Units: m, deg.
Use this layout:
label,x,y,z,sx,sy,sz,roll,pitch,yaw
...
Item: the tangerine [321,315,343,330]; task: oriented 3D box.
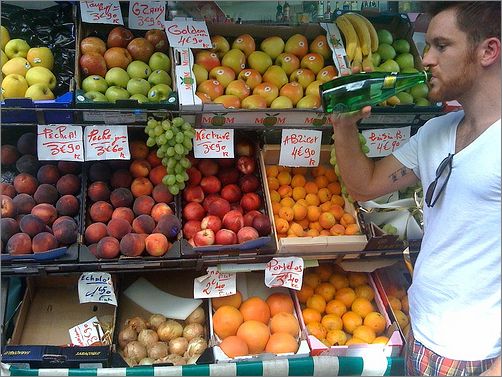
label,x,y,z,sx,sy,sz,roll,pitch,yaw
tangerine,0.544,0.909,2.672,0.101,0.096,0.102,16,10,12

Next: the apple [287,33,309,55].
label,x,y,z,sx,sy,sz,roll,pitch,yaw
apple,0.339,-1.046,2.938,0.167,0.196,0.168,-1,13,-13

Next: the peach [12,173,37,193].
label,x,y,z,sx,sy,sz,roll,pitch,yaw
peach,-1.395,-0.030,2.463,0.120,0.128,0.118,-4,25,-20

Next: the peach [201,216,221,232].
label,x,y,z,sx,sy,sz,roll,pitch,yaw
peach,-0.254,0.231,2.472,0.102,0.102,0.097,2,-8,-13

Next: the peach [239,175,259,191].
label,x,y,z,sx,sy,sz,roll,pitch,yaw
peach,-0.023,-0.029,2.815,0.110,0.109,0.105,-8,-3,-34

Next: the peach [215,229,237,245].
label,x,y,z,sx,sy,sz,roll,pitch,yaw
peach,-0.158,0.304,2.466,0.095,0.095,0.095,12,15,35

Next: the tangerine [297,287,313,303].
label,x,y,z,sx,sy,sz,roll,pitch,yaw
tangerine,0.385,0.754,2.902,0.105,0.128,0.106,9,2,20

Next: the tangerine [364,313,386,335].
label,x,y,z,sx,sy,sz,roll,pitch,yaw
tangerine,0.827,0.913,2.732,0.139,0.132,0.139,21,46,-9

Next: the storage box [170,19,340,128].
label,x,y,z,sx,sy,sz,roll,pitch,yaw
storage box,0.067,-0.751,2.691,0.733,0.297,1.012,0,53,-7

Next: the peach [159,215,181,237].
label,x,y,z,sx,sy,sz,roll,pitch,yaw
peach,-0.511,0.240,2.447,0.141,0.118,0.098,-14,42,-22

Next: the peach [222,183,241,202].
label,x,y,z,sx,sy,sz,roll,pitch,yaw
peach,-0.140,0.039,2.692,0.115,0.110,0.112,1,36,0

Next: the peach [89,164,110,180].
label,x,y,z,sx,sy,sz,roll,pitch,yaw
peach,-0.992,-0.103,2.641,0.113,0.113,0.135,33,-12,-19

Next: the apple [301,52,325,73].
label,x,y,z,sx,sy,sz,roll,pitch,yaw
apple,0.438,-0.886,2.815,0.102,0.123,0.108,29,60,-4

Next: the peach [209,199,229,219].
label,x,y,z,sx,sy,sz,roll,pitch,yaw
peach,-0.212,0.127,2.545,0.121,0.118,0.113,1,6,-6

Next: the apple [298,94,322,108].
label,x,y,z,sx,sy,sz,roll,pitch,yaw
apple,0.383,-0.562,2.603,0.135,0.076,0.101,1,26,18

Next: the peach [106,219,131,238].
label,x,y,z,sx,sy,sz,roll,pitch,yaw
peach,-0.796,0.240,2.373,0.117,0.064,0.113,-26,68,-31

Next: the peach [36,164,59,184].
label,x,y,z,sx,sy,sz,roll,pitch,yaw
peach,-1.288,-0.085,2.506,0.120,0.120,0.116,3,51,-5

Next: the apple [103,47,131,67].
label,x,y,z,sx,sy,sz,roll,pitch,yaw
apple,-0.875,-0.848,2.648,0.143,0.148,0.148,4,50,5

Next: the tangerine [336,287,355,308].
label,x,y,z,sx,sy,sz,roll,pitch,yaw
tangerine,0.680,0.775,2.838,0.118,0.120,0.124,11,20,37

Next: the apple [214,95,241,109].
label,x,y,z,sx,sy,sz,roll,pitch,yaw
apple,-0.147,-0.547,2.511,0.119,0.069,0.127,20,37,-8

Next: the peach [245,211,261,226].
label,x,y,z,sx,sy,sz,roll,pitch,yaw
peach,-0.008,0.194,2.629,0.103,0.090,0.087,-13,29,-38

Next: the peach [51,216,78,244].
label,x,y,z,sx,sy,sz,roll,pitch,yaw
peach,-1.130,0.244,2.383,0.160,0.171,0.183,-6,15,-26

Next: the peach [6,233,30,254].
label,x,y,z,sx,sy,sz,roll,pitch,yaw
peach,-1.305,0.318,2.230,0.111,0.120,0.139,14,-7,-6

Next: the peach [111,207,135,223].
label,x,y,z,sx,sy,sz,roll,pitch,yaw
peach,-0.797,0.155,2.454,0.103,0.102,0.096,-18,26,-22

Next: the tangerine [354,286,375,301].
label,x,y,z,sx,sy,sz,roll,pitch,yaw
tangerine,0.820,0.756,2.864,0.111,0.108,0.102,1,-1,3

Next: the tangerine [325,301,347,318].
label,x,y,z,sx,sy,sz,roll,pitch,yaw
tangerine,0.588,0.837,2.759,0.104,0.106,0.105,16,52,12

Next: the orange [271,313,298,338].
label,x,y,z,sx,sy,sz,roll,pitch,yaw
orange,0.221,0.902,2.632,0.154,0.153,0.152,-1,3,-3

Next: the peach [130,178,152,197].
label,x,y,z,sx,sy,sz,roll,pitch,yaw
peach,-0.716,-0.004,2.575,0.117,0.120,0.114,7,14,-3

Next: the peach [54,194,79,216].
label,x,y,z,sx,sy,sz,roll,pitch,yaw
peach,-1.126,0.104,2.424,0.118,0.124,0.123,-2,37,-28

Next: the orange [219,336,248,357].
label,x,y,z,sx,sy,sz,roll,pitch,yaw
orange,-0.106,0.996,2.477,0.142,0.120,0.119,1,75,-18

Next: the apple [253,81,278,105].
label,x,y,z,sx,sy,sz,roll,pitch,yaw
apple,0.103,-0.639,2.709,0.144,0.146,0.143,-22,39,-29

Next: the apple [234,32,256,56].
label,x,y,z,sx,sy,sz,roll,pitch,yaw
apple,-0.046,-1.022,2.844,0.149,0.149,0.143,15,20,24

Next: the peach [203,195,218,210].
label,x,y,z,sx,sy,sz,roll,pitch,yaw
peach,-0.266,0.089,2.649,0.089,0.104,0.091,7,69,-1

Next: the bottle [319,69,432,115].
label,x,y,z,sx,sy,sz,roll,pitch,yaw
bottle,0.638,-0.489,2.046,0.567,0.184,0.190,-15,54,-5

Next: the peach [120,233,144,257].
label,x,y,z,sx,sy,sz,roll,pitch,yaw
peach,-0.721,0.343,2.398,0.150,0.158,0.164,1,3,1

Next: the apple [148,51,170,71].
label,x,y,z,sx,sy,sz,roll,pitch,yaw
apple,-0.610,-0.830,2.616,0.124,0.130,0.128,-1,58,-14

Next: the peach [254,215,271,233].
label,x,y,z,sx,sy,sz,roll,pitch,yaw
peach,0.066,0.237,2.576,0.100,0.104,0.120,-10,70,-3

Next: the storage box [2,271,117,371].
label,x,y,z,sx,sy,sz,roll,pitch,yaw
storage box,-1.313,0.898,2.616,0.586,0.174,0.585,-1,52,-6

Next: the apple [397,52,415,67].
label,x,y,z,sx,sy,sz,roll,pitch,yaw
apple,1.129,-0.933,2.898,0.108,0.091,0.091,16,12,-46

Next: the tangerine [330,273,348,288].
label,x,y,z,sx,sy,sz,roll,pitch,yaw
tangerine,0.658,0.698,2.978,0.092,0.096,0.111,-5,61,-18

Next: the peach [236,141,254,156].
label,x,y,z,sx,sy,sz,roll,pitch,yaw
peach,-0.048,-0.278,2.863,0.105,0.100,0.104,0,36,-4

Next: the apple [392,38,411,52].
label,x,y,z,sx,sy,sz,roll,pitch,yaw
apple,1.125,-1.068,2.971,0.104,0.110,0.110,12,26,15

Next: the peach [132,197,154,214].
label,x,y,z,sx,sy,sz,roll,pitch,yaw
peach,-0.687,0.113,2.507,0.115,0.115,0.108,-3,3,6

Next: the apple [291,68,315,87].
label,x,y,z,sx,sy,sz,roll,pitch,yaw
apple,0.357,-0.771,2.744,0.135,0.136,0.136,-9,35,7

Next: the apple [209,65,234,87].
label,x,y,z,sx,sy,sz,roll,pitch,yaw
apple,-0.191,-0.754,2.735,0.143,0.141,0.143,-13,12,8

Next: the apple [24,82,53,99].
label,x,y,z,sx,sy,sz,roll,pitch,yaw
apple,-1.267,-0.572,2.383,0.145,0.139,0.137,4,19,-13

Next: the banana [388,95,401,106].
label,x,y,z,sx,sy,sz,roll,pitch,yaw
banana,0.966,-0.590,2.688,0.090,0.052,0.067,-4,6,-11

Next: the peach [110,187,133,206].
label,x,y,z,sx,sy,sz,roll,pitch,yaw
peach,-0.818,0.064,2.534,0.121,0.117,0.120,7,62,-5

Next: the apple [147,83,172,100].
label,x,y,z,sx,sy,sz,roll,pitch,yaw
apple,-0.567,-0.589,2.437,0.089,0.087,0.087,-19,26,37

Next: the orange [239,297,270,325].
label,x,y,z,sx,sy,sz,roll,pitch,yaw
orange,0.032,0.831,2.737,0.164,0.199,0.170,16,42,-10

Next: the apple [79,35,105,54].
label,x,y,z,sx,sy,sz,roll,pitch,yaw
apple,-1.034,-0.923,2.635,0.134,0.134,0.128,13,6,19

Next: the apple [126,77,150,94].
label,x,y,z,sx,sy,sz,roll,pitch,yaw
apple,-0.706,-0.632,2.466,0.114,0.111,0.113,8,48,-14

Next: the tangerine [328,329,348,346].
label,x,y,z,sx,sy,sz,roll,pitch,yaw
tangerine,0.561,0.982,2.585,0.097,0.095,0.091,-11,17,-20
